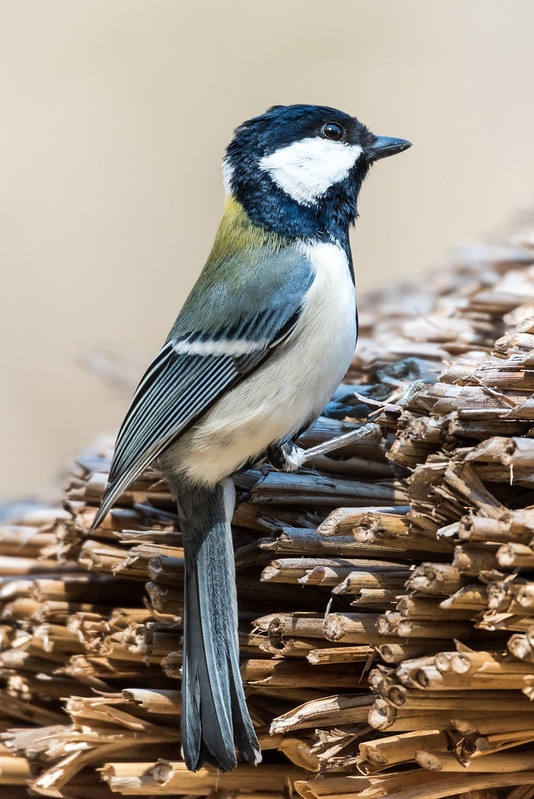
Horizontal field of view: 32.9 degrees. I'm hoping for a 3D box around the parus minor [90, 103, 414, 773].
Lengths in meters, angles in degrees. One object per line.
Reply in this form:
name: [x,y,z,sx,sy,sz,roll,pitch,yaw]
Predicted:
parus minor: [0.014,0.001,1.194,0.459,0.887,0.175,-7,-18,4]
